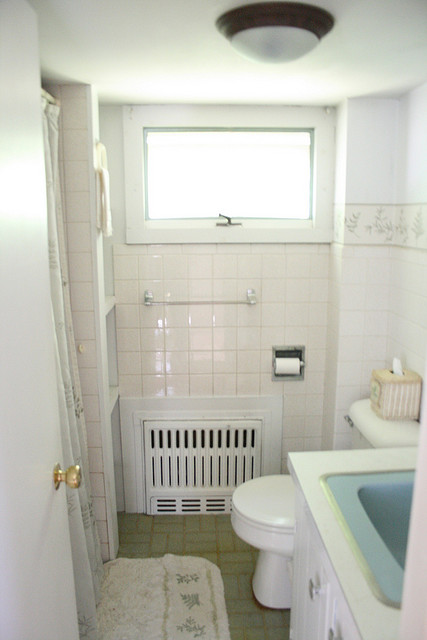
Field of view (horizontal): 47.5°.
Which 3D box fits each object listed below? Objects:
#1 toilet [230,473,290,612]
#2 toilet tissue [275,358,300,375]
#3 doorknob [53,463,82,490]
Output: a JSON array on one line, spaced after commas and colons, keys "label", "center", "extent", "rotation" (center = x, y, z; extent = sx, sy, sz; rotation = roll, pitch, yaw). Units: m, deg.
[{"label": "toilet", "center": [0.224, 0.926, 2.114], "extent": [0.343, 0.481, 0.385], "rotation": [-1, 18, 1]}, {"label": "toilet tissue", "center": [0.387, 0.220, 2.536], "extent": [0.150, 0.072, 0.073], "rotation": [0, 13, -2]}, {"label": "doorknob", "center": [-0.334, 0.351, 1.115], "extent": [0.049, 0.077, 0.052], "rotation": [-2, -6, 13]}]
